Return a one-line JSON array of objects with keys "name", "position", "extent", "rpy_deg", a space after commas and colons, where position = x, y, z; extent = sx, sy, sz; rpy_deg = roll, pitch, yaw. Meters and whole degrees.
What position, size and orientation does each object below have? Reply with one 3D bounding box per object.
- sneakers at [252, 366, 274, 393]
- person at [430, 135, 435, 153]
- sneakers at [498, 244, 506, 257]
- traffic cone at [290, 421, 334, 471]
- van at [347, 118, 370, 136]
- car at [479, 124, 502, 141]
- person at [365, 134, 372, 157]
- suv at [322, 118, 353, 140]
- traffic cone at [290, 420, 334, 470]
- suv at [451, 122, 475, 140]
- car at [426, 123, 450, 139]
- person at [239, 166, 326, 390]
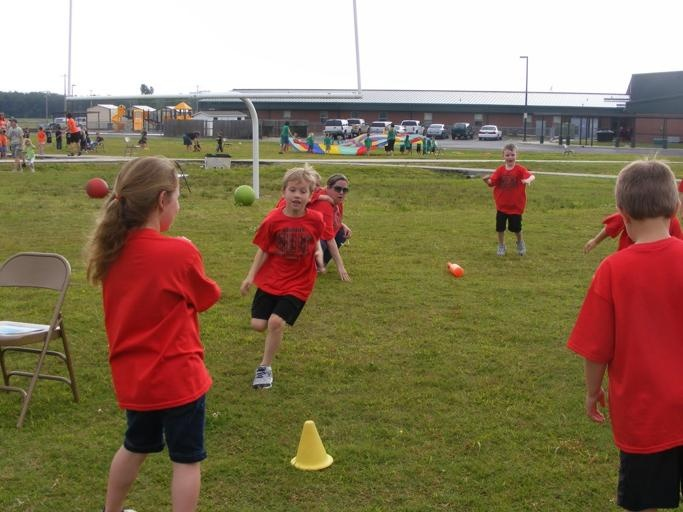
[{"name": "sneakers", "position": [-0.669, 1.068, 5.855], "extent": [0.136, 0.155, 0.338], "rpy_deg": [0, -10, 0]}, {"name": "person", "position": [4.673, -5.599, 35.221], "extent": [0.281, 0.610, 0.709], "rpy_deg": [2, 14, 7]}, {"name": "sneakers", "position": [2.451, -0.078, 10.595], "extent": [0.128, 0.174, 0.180], "rpy_deg": [0, 0, 2]}, {"name": "traffic cone", "position": [-0.218, 1.329, 4.844], "extent": [0.304, 0.310, 0.319], "rpy_deg": [-4, 13, -21]}, {"name": "van", "position": [1.094, -10.316, 54.839], "extent": [1.285, 1.080, 2.355], "rpy_deg": [5, 17, 23]}, {"name": "car", "position": [11.671, -9.622, 53.639], "extent": [0.976, 0.773, 2.301], "rpy_deg": [4, 19, 20]}, {"name": "person", "position": [1.224, -5.322, 32.889], "extent": [0.275, 0.899, 0.953], "rpy_deg": [3, 14, 10]}, {"name": "suv", "position": [-0.192, -9.436, 50.840], "extent": [1.289, 1.020, 2.274], "rpy_deg": [2, 17, 14]}, {"name": "traffic cone", "position": [-0.221, 1.325, 4.844], "extent": [0.302, 0.308, 0.317], "rpy_deg": [-4, 13, -21]}, {"name": "suv", "position": [9.583, -9.831, 54.542], "extent": [1.145, 0.926, 2.069], "rpy_deg": [3, 19, 19]}, {"name": "car", "position": [7.354, -9.440, 53.068], "extent": [1.186, 0.901, 2.676], "rpy_deg": [4, 20, 17]}, {"name": "person", "position": [-0.496, 0.166, 5.904], "extent": [0.544, 1.827, 0.725], "rpy_deg": [4, 14, 16]}]
